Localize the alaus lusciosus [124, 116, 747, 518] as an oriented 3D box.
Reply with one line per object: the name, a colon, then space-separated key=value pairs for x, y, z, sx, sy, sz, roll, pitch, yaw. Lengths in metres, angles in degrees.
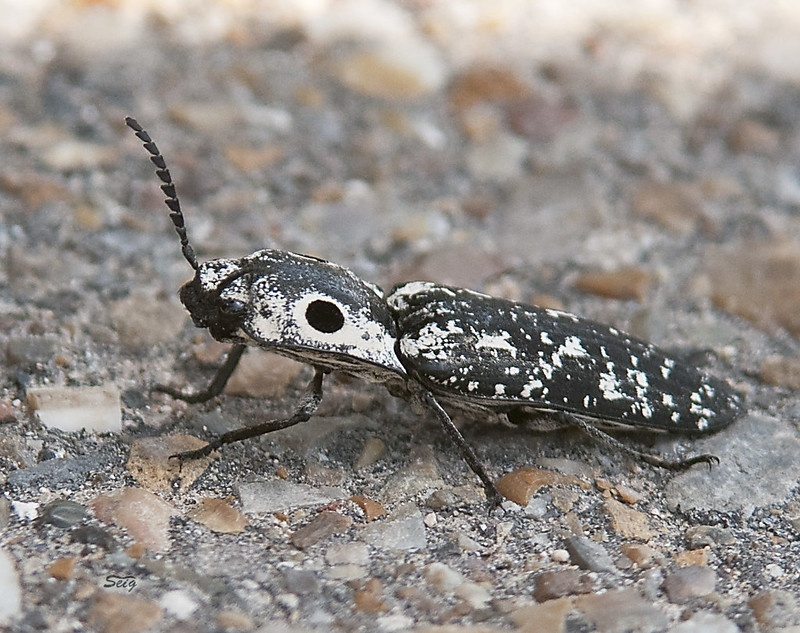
alaus lusciosus: x=0.140 y=0.084 z=3.185 sx=1.906 sy=0.594 sz=1.088 roll=8 pitch=21 yaw=-8
